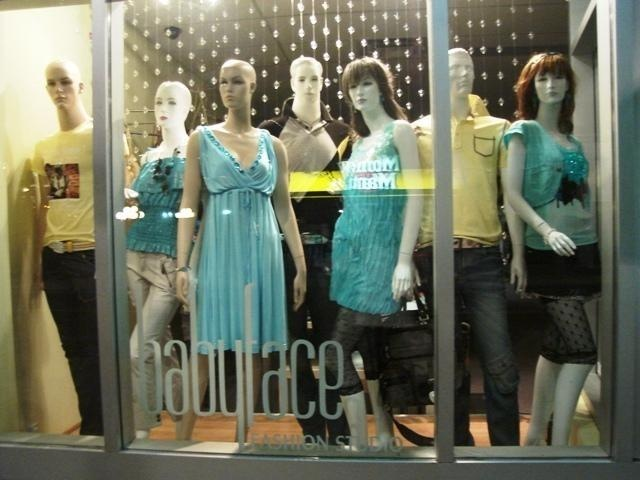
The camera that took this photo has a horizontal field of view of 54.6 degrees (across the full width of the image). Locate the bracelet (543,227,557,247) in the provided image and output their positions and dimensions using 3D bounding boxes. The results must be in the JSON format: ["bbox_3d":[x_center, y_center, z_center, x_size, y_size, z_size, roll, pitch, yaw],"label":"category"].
[{"bbox_3d":[1.059,-0.011,2.837,0.030,0.072,0.052,-5,18,18],"label":"bracelet"}]

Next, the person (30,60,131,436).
[{"bbox_3d":[-1.259,0.037,3.052,0.377,1.821,0.171,-2,4,18],"label":"person"}]

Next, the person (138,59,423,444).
[{"bbox_3d":[0.103,0.040,2.881,0.712,1.806,0.196,-3,4,-6],"label":"person"}]

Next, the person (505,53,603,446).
[{"bbox_3d":[1.078,0.044,2.856,0.408,1.794,0.127,-3,4,-8],"label":"person"}]
